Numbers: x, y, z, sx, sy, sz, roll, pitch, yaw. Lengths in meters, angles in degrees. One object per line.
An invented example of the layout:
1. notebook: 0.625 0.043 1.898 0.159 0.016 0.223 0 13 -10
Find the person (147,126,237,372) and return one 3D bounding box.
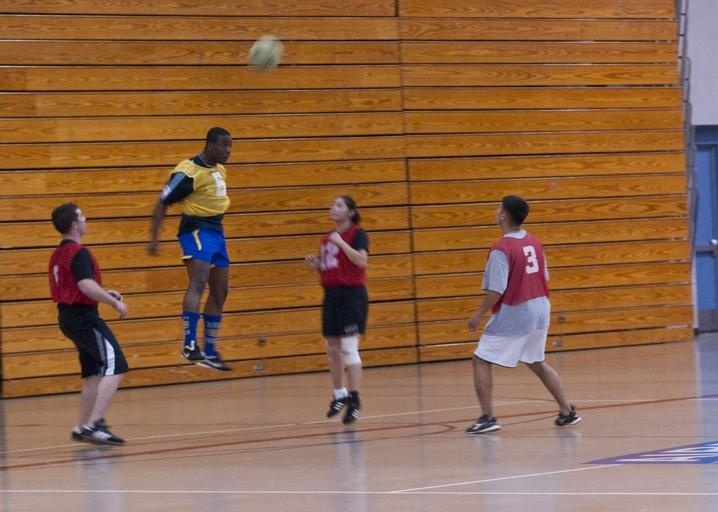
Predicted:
1. person: -1.537 -0.070 7.745 0.722 2.129 1.492 -1 -32 -12

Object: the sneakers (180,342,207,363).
1. sneakers: -1.515 0.901 7.736 0.188 0.159 0.209 -7 -28 0

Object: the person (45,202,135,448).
1. person: -2.307 0.572 7.189 0.640 2.030 1.197 1 -34 -14

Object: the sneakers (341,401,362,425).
1. sneakers: -0.063 1.417 7.587 0.124 0.090 0.271 7 17 19

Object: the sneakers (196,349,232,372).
1. sneakers: -1.340 0.977 7.833 0.495 0.133 0.144 11 -3 -1

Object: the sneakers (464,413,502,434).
1. sneakers: 0.973 1.406 7.011 0.389 0.106 0.110 1 -5 -12

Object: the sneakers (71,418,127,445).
1. sneakers: -2.275 1.498 7.123 0.632 0.174 0.167 4 -10 6

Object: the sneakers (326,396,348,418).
1. sneakers: -0.199 1.371 7.661 0.249 0.125 0.114 -48 -51 6
